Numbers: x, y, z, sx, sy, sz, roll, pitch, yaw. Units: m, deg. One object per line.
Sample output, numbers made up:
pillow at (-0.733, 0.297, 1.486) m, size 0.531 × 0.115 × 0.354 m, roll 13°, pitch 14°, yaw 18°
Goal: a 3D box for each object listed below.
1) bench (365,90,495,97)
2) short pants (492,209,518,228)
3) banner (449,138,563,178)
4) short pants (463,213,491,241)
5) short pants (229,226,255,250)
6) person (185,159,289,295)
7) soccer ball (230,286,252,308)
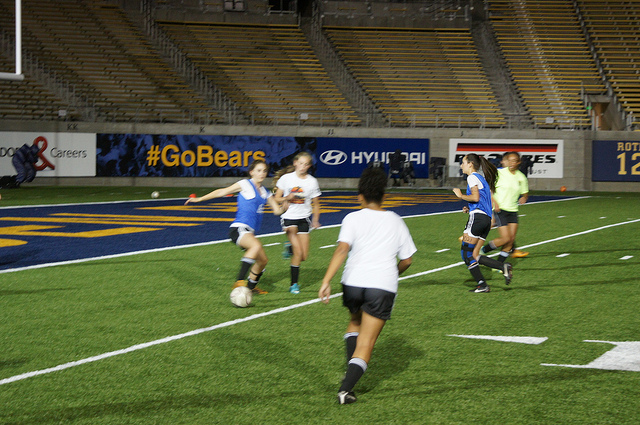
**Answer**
bench at (7.289, -8.153, 34.629) m, size 8.234 × 0.560 × 0.825 m, roll 0°, pitch 8°, yaw 0°
short pants at (3.585, 0.099, 9.745) m, size 0.616 × 0.418 × 0.325 m, roll -1°, pitch -6°, yaw -23°
banner at (11.870, -3.430, 32.238) m, size 0.086 × 2.421 × 8.389 m, roll -16°, pitch 16°, yaw -42°
short pants at (2.608, 0.212, 8.356) m, size 0.346 × 0.432 × 0.552 m, roll 3°, pitch -1°, yaw 35°
short pants at (-1.168, 0.344, 7.521) m, size 0.323 × 0.295 × 0.211 m, roll -1°, pitch 9°, yaw -8°
person at (-1.027, 0.189, 7.561) m, size 0.561 × 1.944 × 0.877 m, roll 9°, pitch 13°, yaw 42°
soccer ball at (-1.107, 1.205, 7.160) m, size 0.279 × 0.341 × 0.229 m, roll 0°, pitch 9°, yaw -4°
